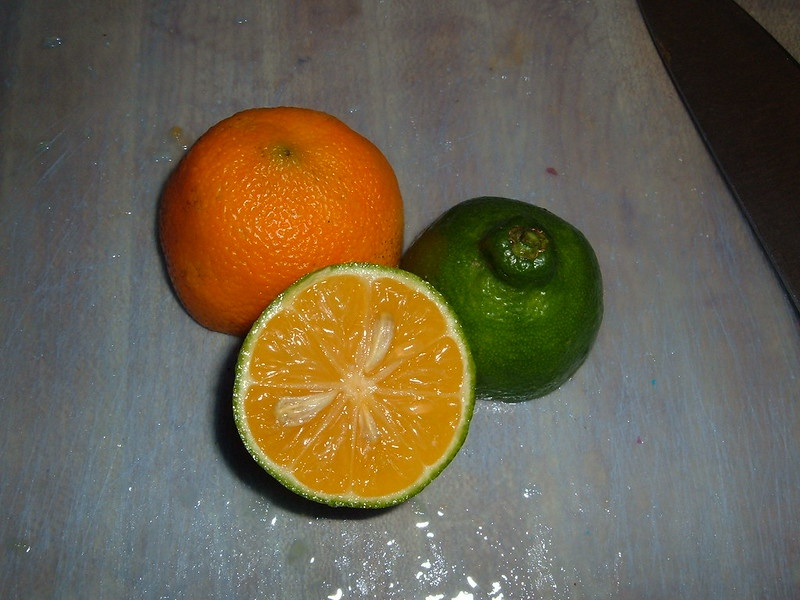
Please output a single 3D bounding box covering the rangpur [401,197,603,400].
[{"bbox_3d":[0.116,0.013,1.005,0.195,0.213,0.244,18,71,-5],"label":"rangpur"}]
